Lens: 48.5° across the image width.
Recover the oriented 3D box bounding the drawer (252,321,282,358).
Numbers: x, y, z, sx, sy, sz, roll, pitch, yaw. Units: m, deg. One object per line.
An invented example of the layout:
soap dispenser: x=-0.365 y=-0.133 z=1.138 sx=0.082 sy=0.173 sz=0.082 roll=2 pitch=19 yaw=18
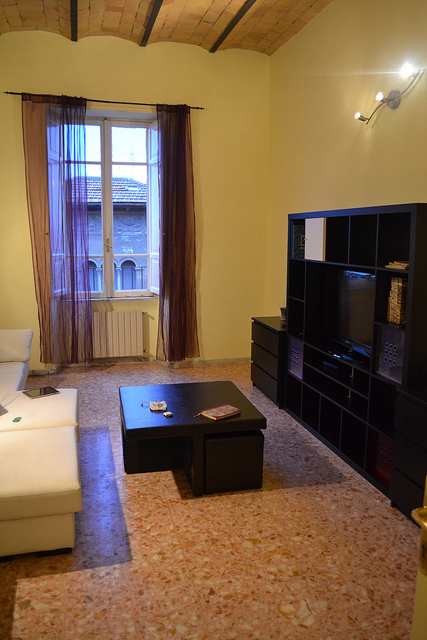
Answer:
drawer: x=0.499 y=0.184 z=4.378 sx=0.101 sy=0.236 sz=0.327 roll=-4 pitch=13 yaw=-20

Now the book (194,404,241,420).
book: x=0.028 y=0.536 z=2.769 sx=0.256 sy=0.031 sz=0.168 roll=-5 pitch=9 yaw=-40

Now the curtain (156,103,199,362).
curtain: x=-0.393 y=-0.916 z=5.263 sx=0.465 sy=2.771 sz=0.202 roll=0 pitch=6 yaw=-8

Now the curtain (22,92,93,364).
curtain: x=-1.626 y=-0.888 z=4.967 sx=0.612 sy=2.717 sz=0.268 roll=-1 pitch=6 yaw=-13
